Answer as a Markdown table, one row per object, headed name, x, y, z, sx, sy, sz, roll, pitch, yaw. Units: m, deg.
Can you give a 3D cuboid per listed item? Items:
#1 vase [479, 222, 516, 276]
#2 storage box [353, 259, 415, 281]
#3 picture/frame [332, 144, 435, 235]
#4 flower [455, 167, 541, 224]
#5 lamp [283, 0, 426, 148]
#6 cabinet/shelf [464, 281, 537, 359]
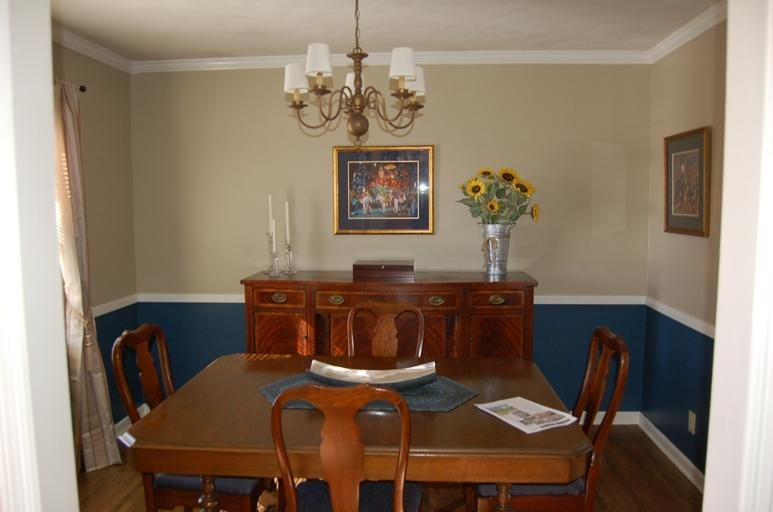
| name | x | y | z | sx | sy | sz | roll | pitch | yaw |
| --- | --- | --- | --- | --- | --- | --- | --- | --- | --- |
| vase | 0.782 | -0.083 | 4.634 | 0.321 | 0.471 | 0.401 | -1 | 6 | -5 |
| storage box | -0.022 | 0.104 | 4.560 | 0.450 | 0.116 | 0.430 | -1 | 5 | -1 |
| picture/frame | 0.012 | -0.562 | 4.793 | 0.720 | 0.608 | 0.031 | 0 | 4 | 2 |
| flower | 0.865 | -0.458 | 4.545 | 0.539 | 0.428 | 0.554 | 0 | 6 | 12 |
| lamp | -0.181 | -1.258 | 4.028 | 0.770 | 1.004 | 0.763 | -8 | 14 | -39 |
| cabinet/shelf | 0.819 | 0.446 | 4.342 | 0.545 | 0.860 | 0.325 | 0 | 2 | 1 |
